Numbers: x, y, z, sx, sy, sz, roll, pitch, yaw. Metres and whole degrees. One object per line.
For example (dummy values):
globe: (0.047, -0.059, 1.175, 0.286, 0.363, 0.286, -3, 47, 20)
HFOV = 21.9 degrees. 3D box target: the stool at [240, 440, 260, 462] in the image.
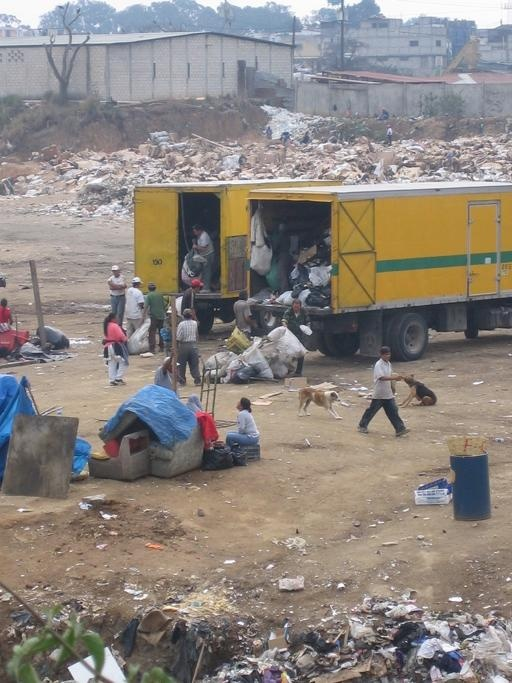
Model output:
stool: (-0.059, 1.229, 14.688, 0.172, 0.231, 0.319, 2, 4, 34)

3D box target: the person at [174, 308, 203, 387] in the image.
person: (-0.990, 0.034, 18.703, 0.338, 1.115, 0.403, -10, 22, -25)

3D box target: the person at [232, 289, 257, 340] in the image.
person: (-0.184, -0.429, 21.464, 0.307, 0.726, 0.919, -2, 6, 0)

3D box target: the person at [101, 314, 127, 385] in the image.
person: (-1.993, 0.091, 18.681, 0.316, 1.032, 0.599, -3, 7, -7)

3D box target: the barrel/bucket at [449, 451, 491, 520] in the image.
barrel/bucket: (2.012, 1.359, 12.426, 0.361, 0.648, 0.223, -1, 7, 8)

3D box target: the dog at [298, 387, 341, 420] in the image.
dog: (0.803, 0.783, 16.804, 0.548, 0.387, 0.534, -2, 6, 2)

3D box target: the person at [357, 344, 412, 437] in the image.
person: (1.527, 0.577, 16.118, 0.590, 1.071, 1.071, -1, 7, 5)

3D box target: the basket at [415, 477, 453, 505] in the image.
basket: (1.764, 1.499, 13.248, 0.364, 0.229, 0.372, -1, 6, 5)

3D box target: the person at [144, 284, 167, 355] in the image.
person: (-1.637, -0.409, 21.665, 0.346, 1.141, 1.165, -2, 7, -4)

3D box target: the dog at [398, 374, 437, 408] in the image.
dog: (2.164, 0.668, 17.668, 0.609, 0.544, 0.281, 4, -1, -1)

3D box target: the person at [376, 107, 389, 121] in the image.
person: (6.043, -10.796, 62.934, 0.752, 0.765, 0.236, 4, -35, 11)
